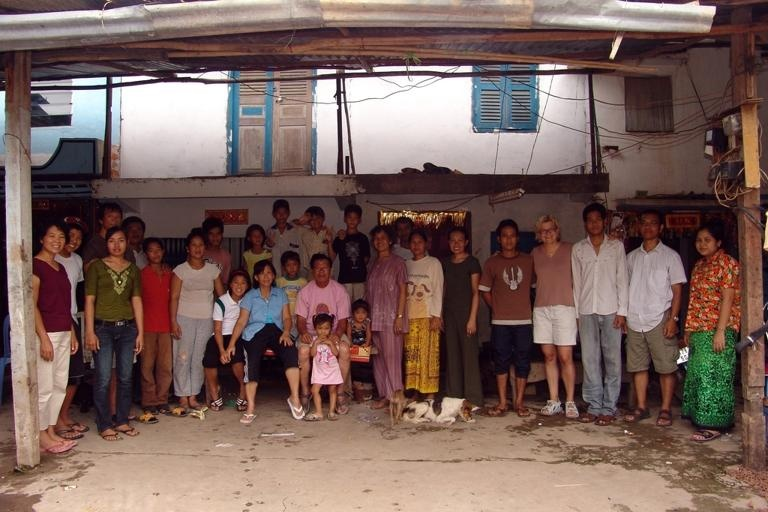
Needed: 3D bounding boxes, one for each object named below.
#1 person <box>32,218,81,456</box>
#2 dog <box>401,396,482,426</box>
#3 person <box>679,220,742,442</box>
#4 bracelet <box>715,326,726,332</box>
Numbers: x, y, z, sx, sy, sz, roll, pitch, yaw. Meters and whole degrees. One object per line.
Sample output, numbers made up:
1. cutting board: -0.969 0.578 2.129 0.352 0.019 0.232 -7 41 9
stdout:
1. person: -3.426 0.831 7.763 0.407 2.303 0.706 -5 15 -14
2. dog: 0.612 1.788 8.700 0.687 0.237 0.333 -1 -16 7
3. person: 3.549 0.798 8.060 0.540 2.219 0.883 3 15 13
4. bracelet: 3.539 0.770 7.898 0.058 0.073 0.020 2 -47 24
